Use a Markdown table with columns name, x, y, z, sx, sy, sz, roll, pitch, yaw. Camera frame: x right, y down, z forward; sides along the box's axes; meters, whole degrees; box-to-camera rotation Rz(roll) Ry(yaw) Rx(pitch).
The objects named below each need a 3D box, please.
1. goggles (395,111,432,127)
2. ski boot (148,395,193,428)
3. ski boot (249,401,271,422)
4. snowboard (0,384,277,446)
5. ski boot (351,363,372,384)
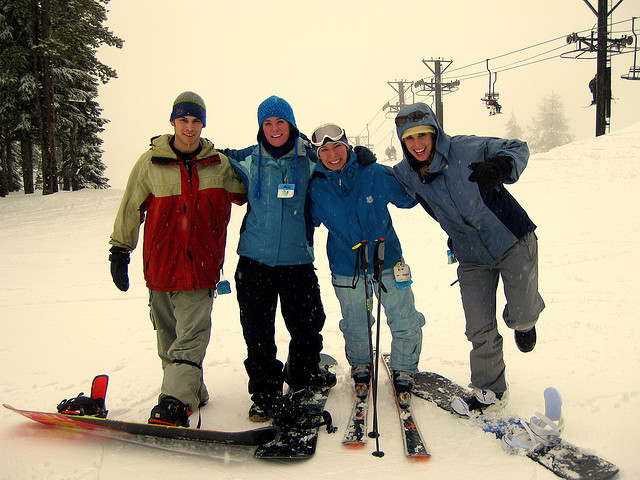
| name | x | y | z | sx | sy | sz | roll | pitch | yaw |
| --- | --- | --- | --- | --- | --- | --- | --- | --- | --- |
| goggles | 1.205 | -1.613 | 8.550 | 0.443 | 0.183 | 0.081 | -3 | 2 | 10 |
| ski boot | -1.911 | 2.208 | 8.295 | 0.255 | 0.310 | 0.624 | -1 | -13 | 16 |
| ski boot | -0.802 | 2.268 | 8.627 | 0.181 | 0.295 | 0.082 | 4 | -22 | -2 |
| snowboard | -2.325 | 2.331 | 8.501 | 3.679 | 0.505 | 0.572 | 2 | 1 | 6 |
| ski boot | 0.572 | 1.831 | 8.933 | 0.257 | 0.169 | 0.481 | -4 | -9 | 3 |
